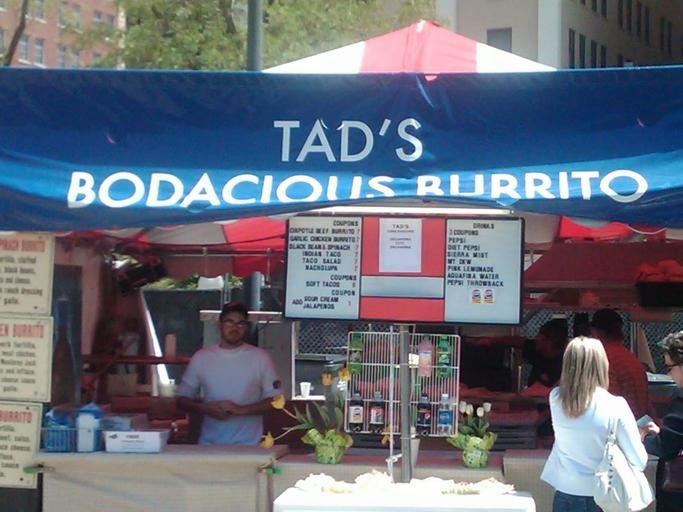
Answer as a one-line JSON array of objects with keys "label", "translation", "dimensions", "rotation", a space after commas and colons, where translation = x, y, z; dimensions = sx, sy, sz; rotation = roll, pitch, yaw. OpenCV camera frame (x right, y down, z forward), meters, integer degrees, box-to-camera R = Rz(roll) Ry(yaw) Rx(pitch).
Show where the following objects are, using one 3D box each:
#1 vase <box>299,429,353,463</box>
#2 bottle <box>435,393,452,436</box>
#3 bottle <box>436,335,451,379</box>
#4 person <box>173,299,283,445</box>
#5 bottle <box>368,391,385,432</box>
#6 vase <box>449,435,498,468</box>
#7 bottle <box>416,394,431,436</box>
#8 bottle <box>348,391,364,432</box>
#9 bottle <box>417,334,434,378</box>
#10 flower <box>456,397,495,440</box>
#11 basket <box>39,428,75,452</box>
[{"label": "vase", "translation": [-0.144, 1.735, 13.259], "dimensions": [0.350, 0.229, 0.341], "rotation": [4, -6, -32]}, {"label": "bottle", "translation": [0.964, 1.430, 13.012], "dimensions": [0.145, 0.382, 0.075], "rotation": [-1, -9, 3]}, {"label": "bottle", "translation": [0.976, 0.906, 13.018], "dimensions": [0.106, 0.368, 0.185], "rotation": [-7, -11, 37]}, {"label": "person", "translation": [-1.116, 1.143, 14.083], "dimensions": [1.032, 1.411, 0.535], "rotation": [1, -9, -7]}, {"label": "bottle", "translation": [0.328, 1.409, 13.041], "dimensions": [0.156, 0.370, 0.098], "rotation": [0, -9, 0]}, {"label": "vase", "translation": [1.236, 1.784, 13.169], "dimensions": [0.430, 0.331, 0.184], "rotation": [0, -9, -3]}, {"label": "bottle", "translation": [0.775, 1.427, 13.039], "dimensions": [0.154, 0.369, 0.102], "rotation": [3, -9, -20]}, {"label": "bottle", "translation": [0.133, 1.408, 13.057], "dimensions": [0.149, 0.364, 0.096], "rotation": [0, -9, -1]}, {"label": "bottle", "translation": [0.786, 0.912, 13.029], "dimensions": [0.145, 0.366, 0.114], "rotation": [-1, -9, 2]}, {"label": "flower", "translation": [1.254, 1.569, 13.249], "dimensions": [0.332, 0.333, 0.248], "rotation": [-2, -26, -31]}, {"label": "basket", "translation": [-2.691, 1.705, 13.330], "dimensions": [0.377, 0.257, 0.203], "rotation": [1, -6, -5]}]
